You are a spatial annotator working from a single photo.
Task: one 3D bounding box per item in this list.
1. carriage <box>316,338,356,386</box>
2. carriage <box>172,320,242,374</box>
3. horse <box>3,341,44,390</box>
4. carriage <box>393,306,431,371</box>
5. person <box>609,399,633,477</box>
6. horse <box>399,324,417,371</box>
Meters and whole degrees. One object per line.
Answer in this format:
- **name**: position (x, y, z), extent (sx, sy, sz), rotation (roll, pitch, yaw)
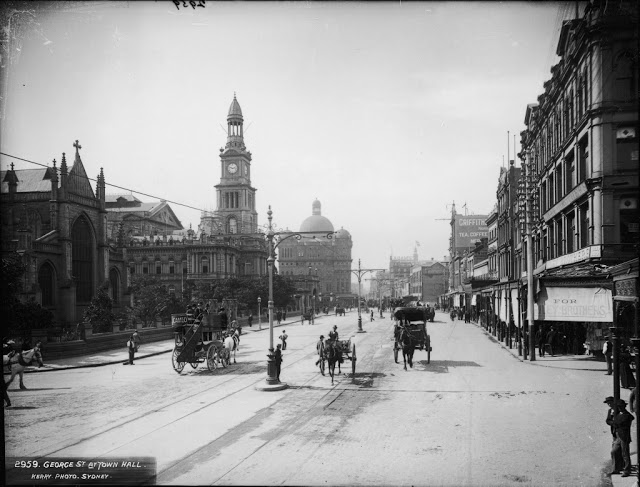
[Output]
- **carriage**: position (0.917, 5.913, 43.659), extent (1.289, 1.667, 2.737), rotation (-3, -15, 11)
- **carriage**: position (-5.466, 5.378, 45.956), extent (5.136, 2.796, 1.686), rotation (-3, 0, -1)
- **horse**: position (-15.742, 6.484, 45.192), extent (1.778, 2.608, 13.722), rotation (0, -8, -18)
- **carriage**: position (5.083, 4.707, 45.938), extent (1.826, 2.904, 3.090), rotation (0, -3, 12)
- **person**: position (10.375, 6.731, 29.383), extent (1.054, 2.271, 1.168), rotation (-1, -3, 21)
- **horse**: position (4.772, 5.546, 44.896), extent (0.720, 2.333, 1.941), rotation (-2, -7, 5)
